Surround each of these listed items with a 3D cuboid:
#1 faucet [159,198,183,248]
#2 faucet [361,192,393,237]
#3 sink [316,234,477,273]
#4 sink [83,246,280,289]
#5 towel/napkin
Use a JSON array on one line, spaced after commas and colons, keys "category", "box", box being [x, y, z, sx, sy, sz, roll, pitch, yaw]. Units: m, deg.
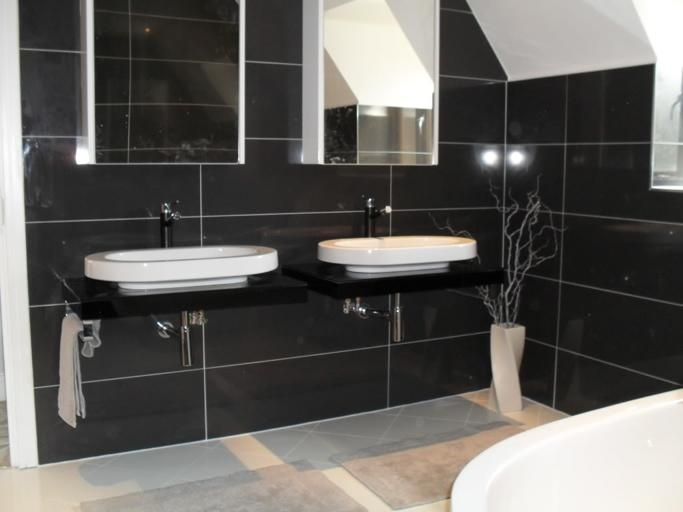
[{"category": "faucet", "box": [-0.926, -0.171, 2.944, 0.117, 0.247, 0.150, -3, 12, -18]}, {"category": "faucet", "box": [0.224, -0.241, 3.385, 0.190, 0.257, 0.304, 2, 12, 5]}, {"category": "sink", "box": [0.317, -0.016, 3.201, 0.916, 0.151, 0.440, -5, 13, -26]}, {"category": "sink", "box": [-0.780, 0.051, 2.718, 0.896, 0.150, 0.414, -2, 12, -16]}, {"category": "towel/napkin", "box": [-1.360, 0.573, 2.723, 0.126, 0.574, 0.354, -6, 13, -30]}]
